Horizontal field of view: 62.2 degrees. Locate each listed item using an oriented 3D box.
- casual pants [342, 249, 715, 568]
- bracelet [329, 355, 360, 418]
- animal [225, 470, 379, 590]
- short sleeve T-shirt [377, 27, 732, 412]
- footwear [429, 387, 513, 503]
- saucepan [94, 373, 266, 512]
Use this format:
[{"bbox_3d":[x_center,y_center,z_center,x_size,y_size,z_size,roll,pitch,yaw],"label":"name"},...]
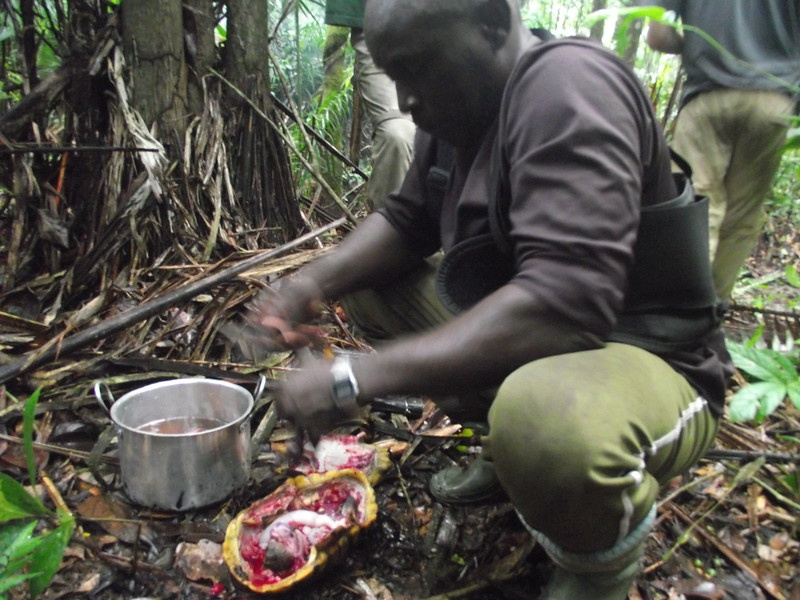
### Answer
[{"bbox_3d":[0.461,0.349,1.816,0.825,0.303,0.883,1,37,-17],"label":"casual pants"},{"bbox_3d":[-0.151,0.241,1.899,0.085,0.126,0.126,0,-8,-4],"label":"bracelet"},{"bbox_3d":[-0.334,0.763,2.214,0.417,0.147,0.295,-24,39,-28],"label":"animal"},{"bbox_3d":[0.644,-0.245,2.628,1.114,1.595,1.219,-1,-1,-18],"label":"short sleeve T-shirt"},{"bbox_3d":[0.272,0.539,2.442,0.332,0.439,0.137,-2,28,-7],"label":"footwear"},{"bbox_3d":[-0.819,0.505,2.525,0.606,0.500,0.435,1,53,-22],"label":"saucepan"}]
